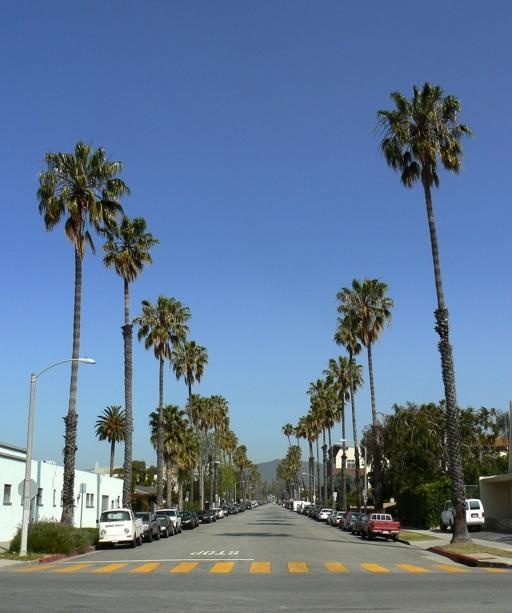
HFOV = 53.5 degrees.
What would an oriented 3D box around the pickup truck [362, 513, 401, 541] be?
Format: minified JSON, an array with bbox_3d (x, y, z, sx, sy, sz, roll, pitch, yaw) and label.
[{"bbox_3d":[7.414,13.509,30.998,1.248,1.596,3.048,2,-14,0],"label":"pickup truck"}]
